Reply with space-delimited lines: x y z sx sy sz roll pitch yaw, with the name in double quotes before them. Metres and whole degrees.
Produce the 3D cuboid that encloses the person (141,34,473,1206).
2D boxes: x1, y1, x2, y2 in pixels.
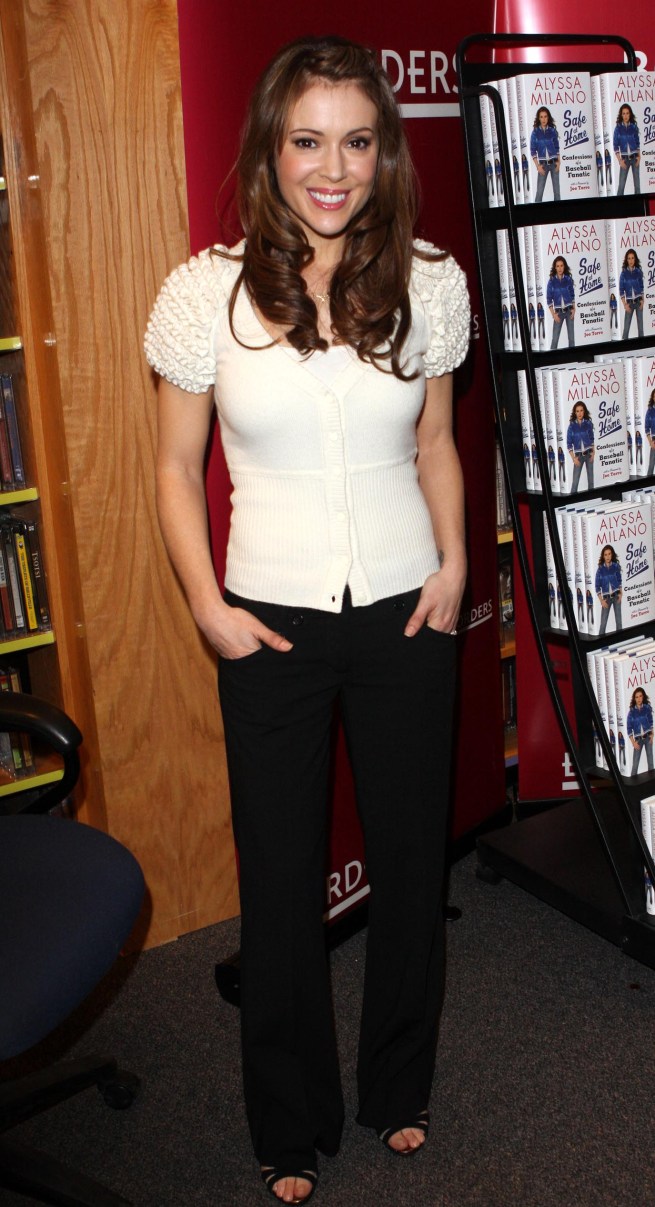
"person" 0.000 0.108 1.279 0.485 1.667 0.376 -3 5 -12
